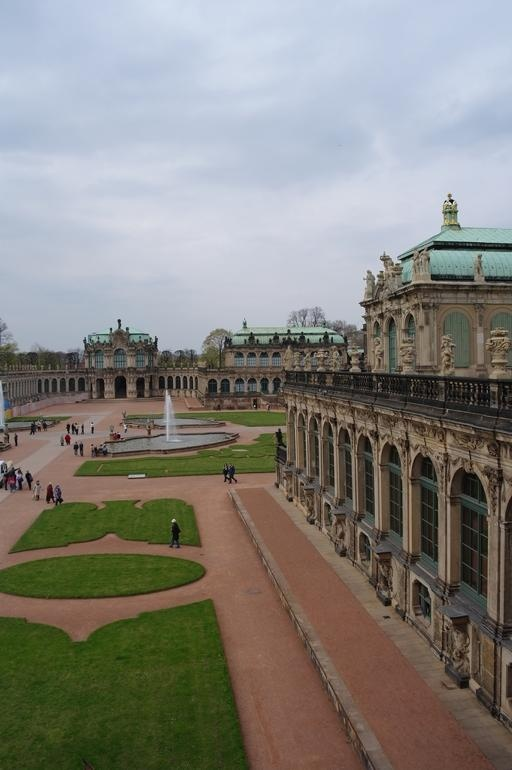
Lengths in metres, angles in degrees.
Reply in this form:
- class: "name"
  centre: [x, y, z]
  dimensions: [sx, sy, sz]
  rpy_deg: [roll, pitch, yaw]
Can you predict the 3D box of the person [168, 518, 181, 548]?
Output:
- class: "person"
  centre: [-3.680, 6.610, 27.104]
  dimensions: [0.448, 1.179, 1.439]
  rpy_deg: [-1, 1, -8]
